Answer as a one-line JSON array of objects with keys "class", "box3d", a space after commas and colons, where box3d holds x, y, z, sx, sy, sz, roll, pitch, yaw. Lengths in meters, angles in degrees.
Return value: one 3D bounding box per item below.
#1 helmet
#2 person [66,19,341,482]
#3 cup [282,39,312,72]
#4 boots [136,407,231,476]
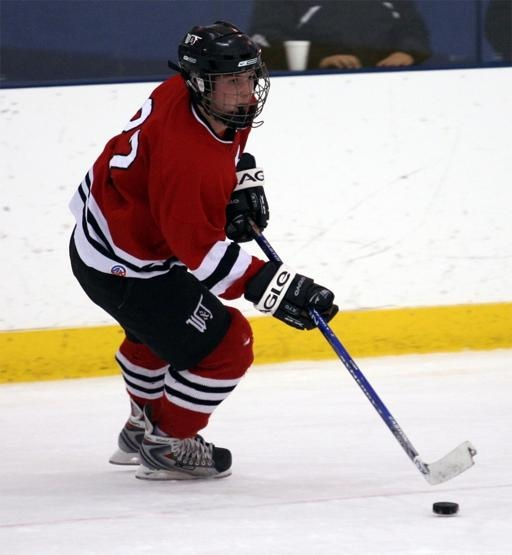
[{"class": "helmet", "box3d": [-0.078, -0.544, 1.917, 0.202, 0.201, 0.246, -23, 44, -32]}, {"class": "person", "box3d": [-0.171, -0.043, 2.093, 0.498, 1.322, 0.560, -16, 16, -38]}, {"class": "cup", "box3d": [0.181, -1.002, 3.243, 0.159, 0.104, 0.130, 0, 16, 0]}, {"class": "boots", "box3d": [-0.138, 0.523, 2.283, 0.455, 0.200, 0.130, 0, 4, -9]}]
